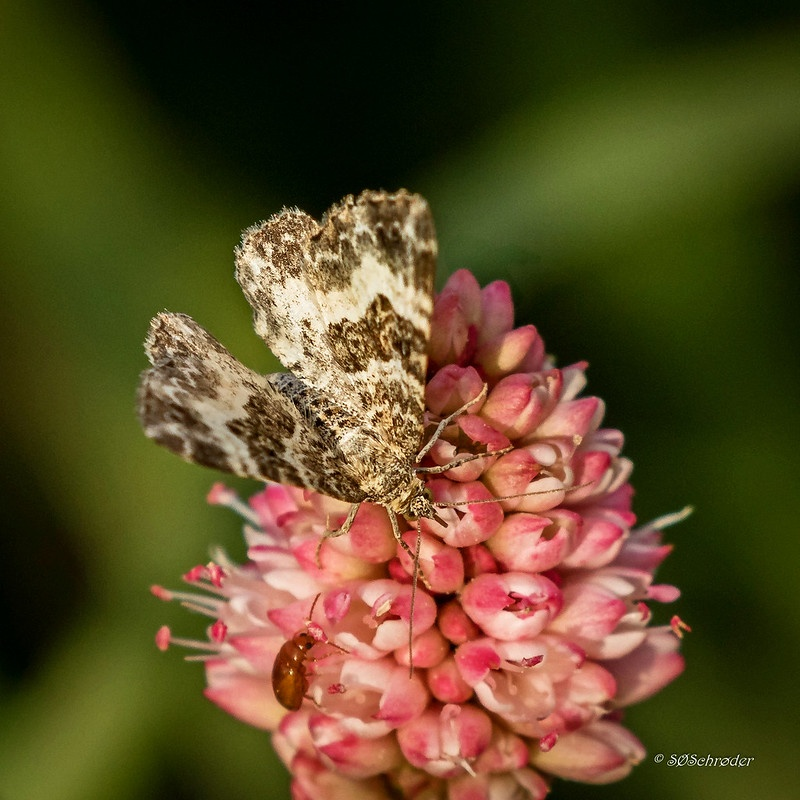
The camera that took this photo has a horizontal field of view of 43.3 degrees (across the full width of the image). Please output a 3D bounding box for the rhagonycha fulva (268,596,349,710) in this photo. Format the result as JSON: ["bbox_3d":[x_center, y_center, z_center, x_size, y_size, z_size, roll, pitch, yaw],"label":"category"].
[{"bbox_3d":[-0.254,0.606,2.400,0.152,0.428,0.275,-5,97,-6],"label":"rhagonycha fulva"}]
